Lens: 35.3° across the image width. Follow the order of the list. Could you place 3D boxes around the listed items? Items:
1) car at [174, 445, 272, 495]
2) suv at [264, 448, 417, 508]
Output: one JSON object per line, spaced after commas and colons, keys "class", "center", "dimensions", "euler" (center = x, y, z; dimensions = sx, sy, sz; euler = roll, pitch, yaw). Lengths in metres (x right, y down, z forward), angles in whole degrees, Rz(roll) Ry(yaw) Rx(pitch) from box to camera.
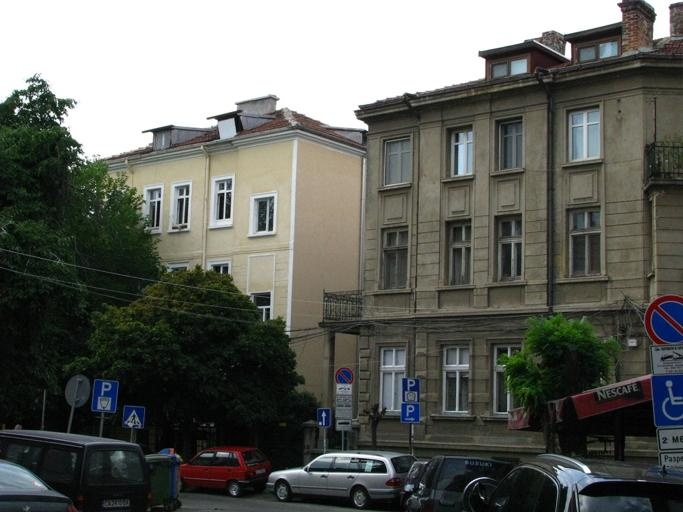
{"class": "car", "center": [-4.362, 7.889, 39.718], "dimensions": [2.918, 1.291, 1.705], "euler": [0, -4, 28]}
{"class": "suv", "center": [0.159, 7.278, 35.763], "dimensions": [4.404, 1.288, 1.848], "euler": [-3, -9, 34]}
